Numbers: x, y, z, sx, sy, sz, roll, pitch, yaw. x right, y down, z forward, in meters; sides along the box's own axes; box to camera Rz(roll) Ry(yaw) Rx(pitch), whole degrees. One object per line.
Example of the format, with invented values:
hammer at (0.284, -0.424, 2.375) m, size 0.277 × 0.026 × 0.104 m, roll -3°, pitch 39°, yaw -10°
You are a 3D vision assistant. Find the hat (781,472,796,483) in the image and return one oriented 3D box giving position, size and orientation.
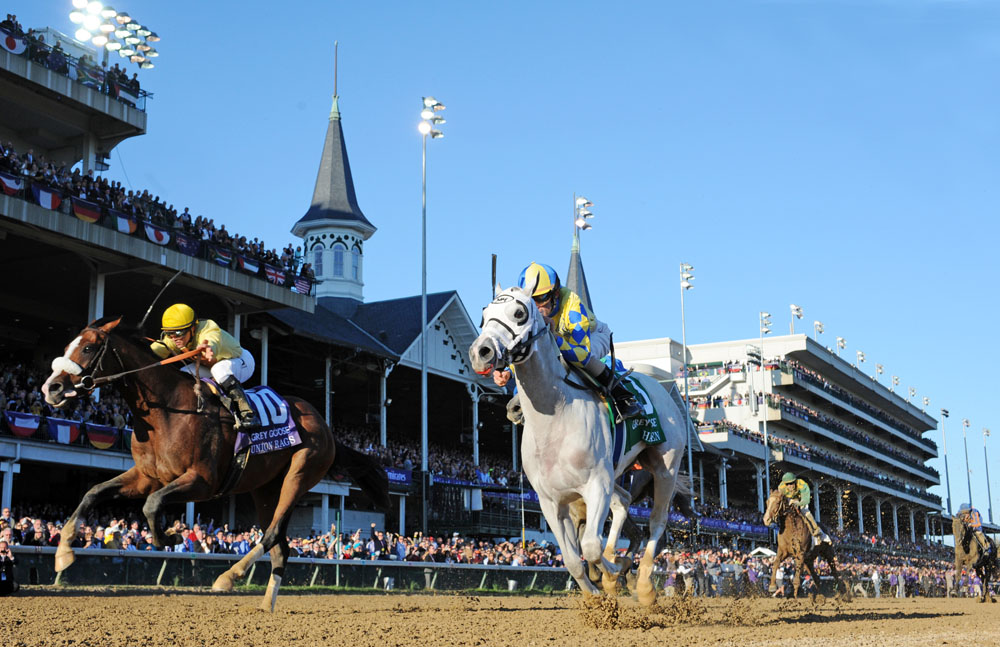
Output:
hat at (7.091, 3.782, 35.654) m, size 0.338 × 0.419 × 0.172 m, roll -5°, pitch -59°, yaw 26°

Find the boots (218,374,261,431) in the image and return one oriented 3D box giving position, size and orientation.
boots at (-4.826, 1.507, 26.960) m, size 0.410 × 0.239 × 1.014 m, roll 19°, pitch 15°, yaw -42°

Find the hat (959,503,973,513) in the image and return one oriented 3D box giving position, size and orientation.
hat at (11.974, 4.737, 37.523) m, size 0.264 × 0.214 × 0.533 m, roll -5°, pitch -18°, yaw 18°

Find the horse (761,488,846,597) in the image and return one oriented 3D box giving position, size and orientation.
horse at (7.586, 5.690, 36.616) m, size 0.896 × 2.574 × 4.176 m, roll -6°, pitch -16°, yaw 35°

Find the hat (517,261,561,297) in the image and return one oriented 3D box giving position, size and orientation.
hat at (0.629, -0.754, 25.782) m, size 0.630 × 0.500 × 0.884 m, roll -8°, pitch 1°, yaw 12°
